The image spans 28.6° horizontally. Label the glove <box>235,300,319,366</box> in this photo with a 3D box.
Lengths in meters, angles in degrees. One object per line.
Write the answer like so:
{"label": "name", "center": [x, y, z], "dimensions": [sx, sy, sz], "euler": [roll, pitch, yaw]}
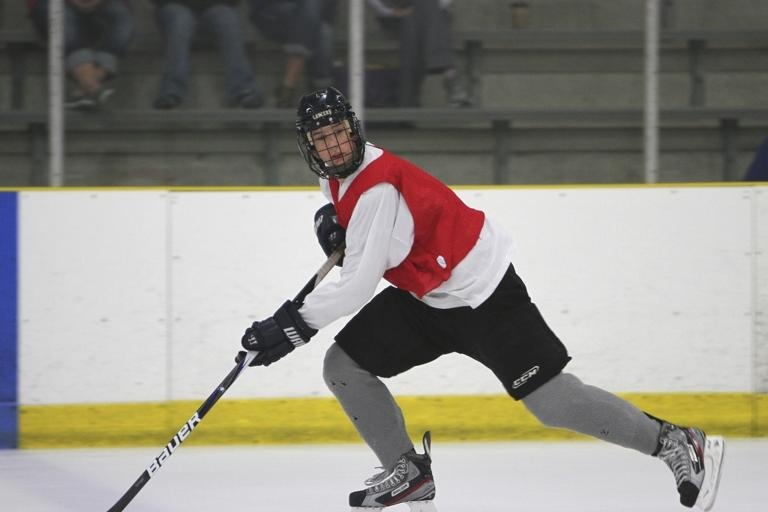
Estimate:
{"label": "glove", "center": [-0.494, 0.384, 7.376], "dimensions": [0.421, 0.230, 0.161], "euler": [-26, -12, 0]}
